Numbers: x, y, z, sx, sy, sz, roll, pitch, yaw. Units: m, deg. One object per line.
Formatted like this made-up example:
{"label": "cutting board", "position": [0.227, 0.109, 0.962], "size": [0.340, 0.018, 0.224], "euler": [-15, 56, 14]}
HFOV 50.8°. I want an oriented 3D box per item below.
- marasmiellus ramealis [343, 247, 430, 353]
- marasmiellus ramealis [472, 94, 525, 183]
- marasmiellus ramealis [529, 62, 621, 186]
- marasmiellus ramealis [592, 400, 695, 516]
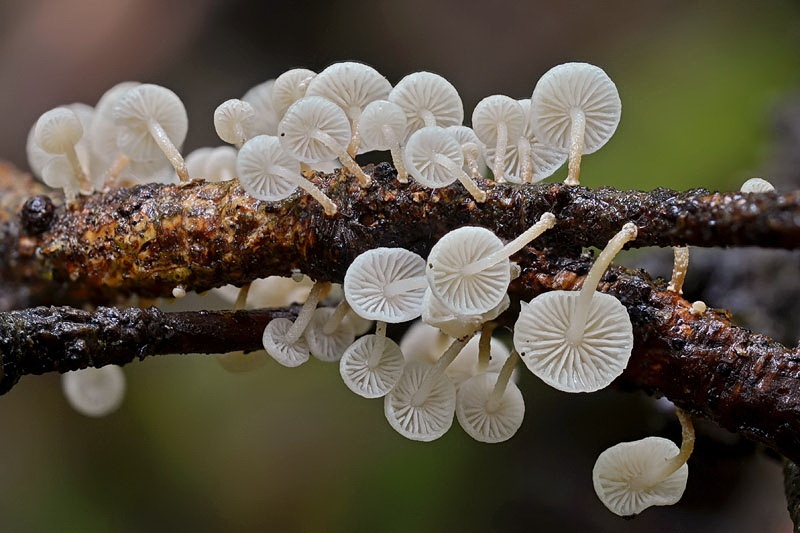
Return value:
{"label": "marasmiellus ramealis", "position": [-0.053, 0.099, 3.795], "size": [0.361, 0.217, 0.321], "euler": [-2, 73, 8]}
{"label": "marasmiellus ramealis", "position": [0.489, -0.559, 4.071], "size": [0.275, 0.244, 0.429], "euler": [-18, 61, 42]}
{"label": "marasmiellus ramealis", "position": [0.838, -0.637, 4.022], "size": [0.397, 0.453, 0.501], "euler": [0, 82, 24]}
{"label": "marasmiellus ramealis", "position": [1.121, 0.962, 3.894], "size": [0.185, 0.374, 0.589], "euler": [-113, 33, -71]}
